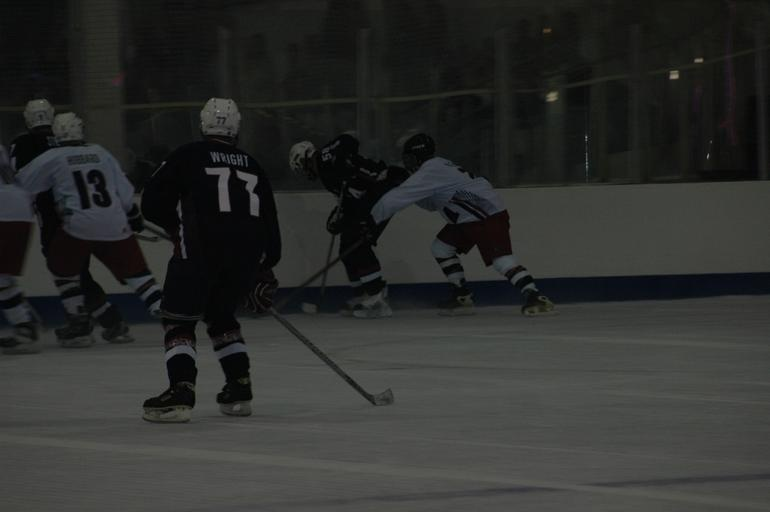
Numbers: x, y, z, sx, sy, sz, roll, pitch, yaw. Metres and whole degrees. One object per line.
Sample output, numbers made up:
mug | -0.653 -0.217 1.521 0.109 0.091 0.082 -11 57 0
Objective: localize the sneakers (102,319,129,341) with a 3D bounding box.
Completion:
sneakers | -1.843 0.514 5.807 0.210 0.127 0.102 6 5 5

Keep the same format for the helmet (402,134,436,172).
helmet | 0.283 -0.814 6.602 0.330 0.297 0.248 3 12 20

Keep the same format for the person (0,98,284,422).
person | -0.911 0.000 4.350 0.716 1.586 0.714 -3 15 -7

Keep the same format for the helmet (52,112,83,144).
helmet | -2.103 -0.870 5.645 0.180 0.181 0.217 7 24 23

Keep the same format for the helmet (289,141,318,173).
helmet | -0.658 -0.805 6.765 0.267 0.237 0.204 1 0 13

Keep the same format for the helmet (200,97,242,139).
helmet | -0.872 -0.756 4.522 0.203 0.209 0.225 3 21 -8

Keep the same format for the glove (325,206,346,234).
glove | -0.401 -0.285 6.658 0.081 0.205 0.157 25 -17 -34

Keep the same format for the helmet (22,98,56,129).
helmet | -2.465 -1.024 6.065 0.234 0.236 0.263 -4 20 -8

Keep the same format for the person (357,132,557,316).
person | 0.554 -0.258 6.526 1.338 1.348 0.609 1 15 6

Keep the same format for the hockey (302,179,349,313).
hockey | -0.466 -0.027 6.696 0.375 1.041 0.029 27 16 20
